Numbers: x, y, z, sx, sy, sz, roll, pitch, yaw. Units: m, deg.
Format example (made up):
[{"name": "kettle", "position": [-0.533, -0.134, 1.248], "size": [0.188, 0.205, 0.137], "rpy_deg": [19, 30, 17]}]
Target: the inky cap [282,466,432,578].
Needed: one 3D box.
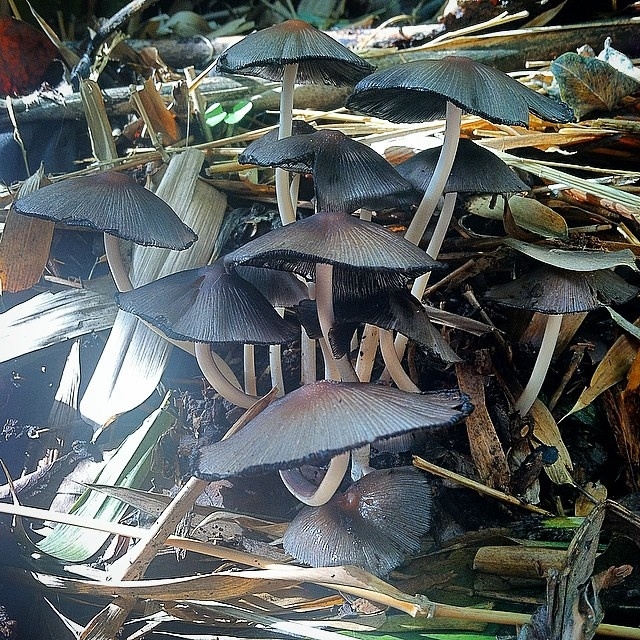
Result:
[{"name": "inky cap", "position": [0.086, 0.481, 1.857], "size": [0.299, 0.098, 0.236], "rpy_deg": [15, 41, 26]}]
